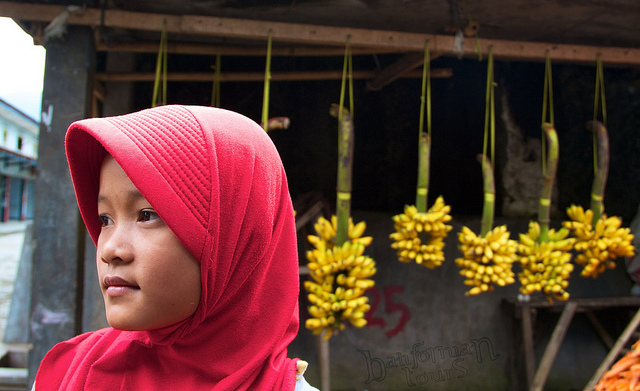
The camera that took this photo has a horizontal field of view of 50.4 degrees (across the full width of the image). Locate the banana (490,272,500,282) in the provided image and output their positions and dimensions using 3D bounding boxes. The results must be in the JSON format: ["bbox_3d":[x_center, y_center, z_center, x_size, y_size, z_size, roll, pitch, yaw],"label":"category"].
[{"bbox_3d":[1.254,0.580,4.861,0.035,0.078,0.042,13,-3,-34],"label":"banana"}]

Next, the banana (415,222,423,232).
[{"bbox_3d":[0.710,0.226,4.866,0.043,0.058,0.033,-10,-3,20],"label":"banana"}]

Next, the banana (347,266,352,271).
[{"bbox_3d":[0.213,0.520,4.878,0.027,0.028,0.007,-3,10,1],"label":"banana"}]

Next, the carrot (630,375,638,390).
[{"bbox_3d":[2.207,1.308,4.783,0.044,0.076,0.017,14,-14,23],"label":"carrot"}]

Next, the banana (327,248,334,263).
[{"bbox_3d":[0.077,0.428,4.919,0.028,0.107,0.034,-10,9,31],"label":"banana"}]

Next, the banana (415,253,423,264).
[{"bbox_3d":[0.714,0.452,4.915,0.046,0.066,0.051,-8,3,-8],"label":"banana"}]

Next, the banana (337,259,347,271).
[{"bbox_3d":[0.164,0.488,4.862,0.063,0.070,0.045,0,-8,2],"label":"banana"}]

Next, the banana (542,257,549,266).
[{"bbox_3d":[1.642,0.473,4.945,0.038,0.052,0.028,26,-5,11],"label":"banana"}]

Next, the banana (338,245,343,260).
[{"bbox_3d":[0.144,0.401,4.887,0.027,0.081,0.021,-6,-5,-36],"label":"banana"}]

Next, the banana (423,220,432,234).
[{"bbox_3d":[0.768,0.221,4.863,0.043,0.083,0.045,1,2,13],"label":"banana"}]

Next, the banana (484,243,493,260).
[{"bbox_3d":[1.213,0.399,4.881,0.053,0.115,0.039,-13,-6,11],"label":"banana"}]

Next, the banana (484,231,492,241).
[{"bbox_3d":[1.217,0.285,4.922,0.053,0.040,0.030,-46,-15,17],"label":"banana"}]

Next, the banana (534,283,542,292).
[{"bbox_3d":[1.585,0.665,4.951,0.051,0.042,0.039,-29,-33,8],"label":"banana"}]

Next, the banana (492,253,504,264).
[{"bbox_3d":[1.277,0.446,4.868,0.069,0.044,0.045,14,-29,8],"label":"banana"}]

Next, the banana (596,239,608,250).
[{"bbox_3d":[2.049,0.351,4.947,0.044,0.086,0.039,-42,-16,-5],"label":"banana"}]

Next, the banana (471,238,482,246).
[{"bbox_3d":[1.125,0.331,4.903,0.070,0.054,0.035,-3,-9,23],"label":"banana"}]

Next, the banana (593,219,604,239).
[{"bbox_3d":[2.045,0.240,4.981,0.042,0.162,0.060,18,24,30],"label":"banana"}]

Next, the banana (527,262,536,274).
[{"bbox_3d":[1.549,0.533,4.956,0.053,0.056,0.072,10,2,36],"label":"banana"}]

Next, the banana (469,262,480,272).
[{"bbox_3d":[1.118,0.509,4.912,0.071,0.067,0.027,0,-8,5],"label":"banana"}]

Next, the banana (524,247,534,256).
[{"bbox_3d":[1.522,0.402,4.961,0.061,0.050,0.047,-3,-2,-19],"label":"banana"}]
